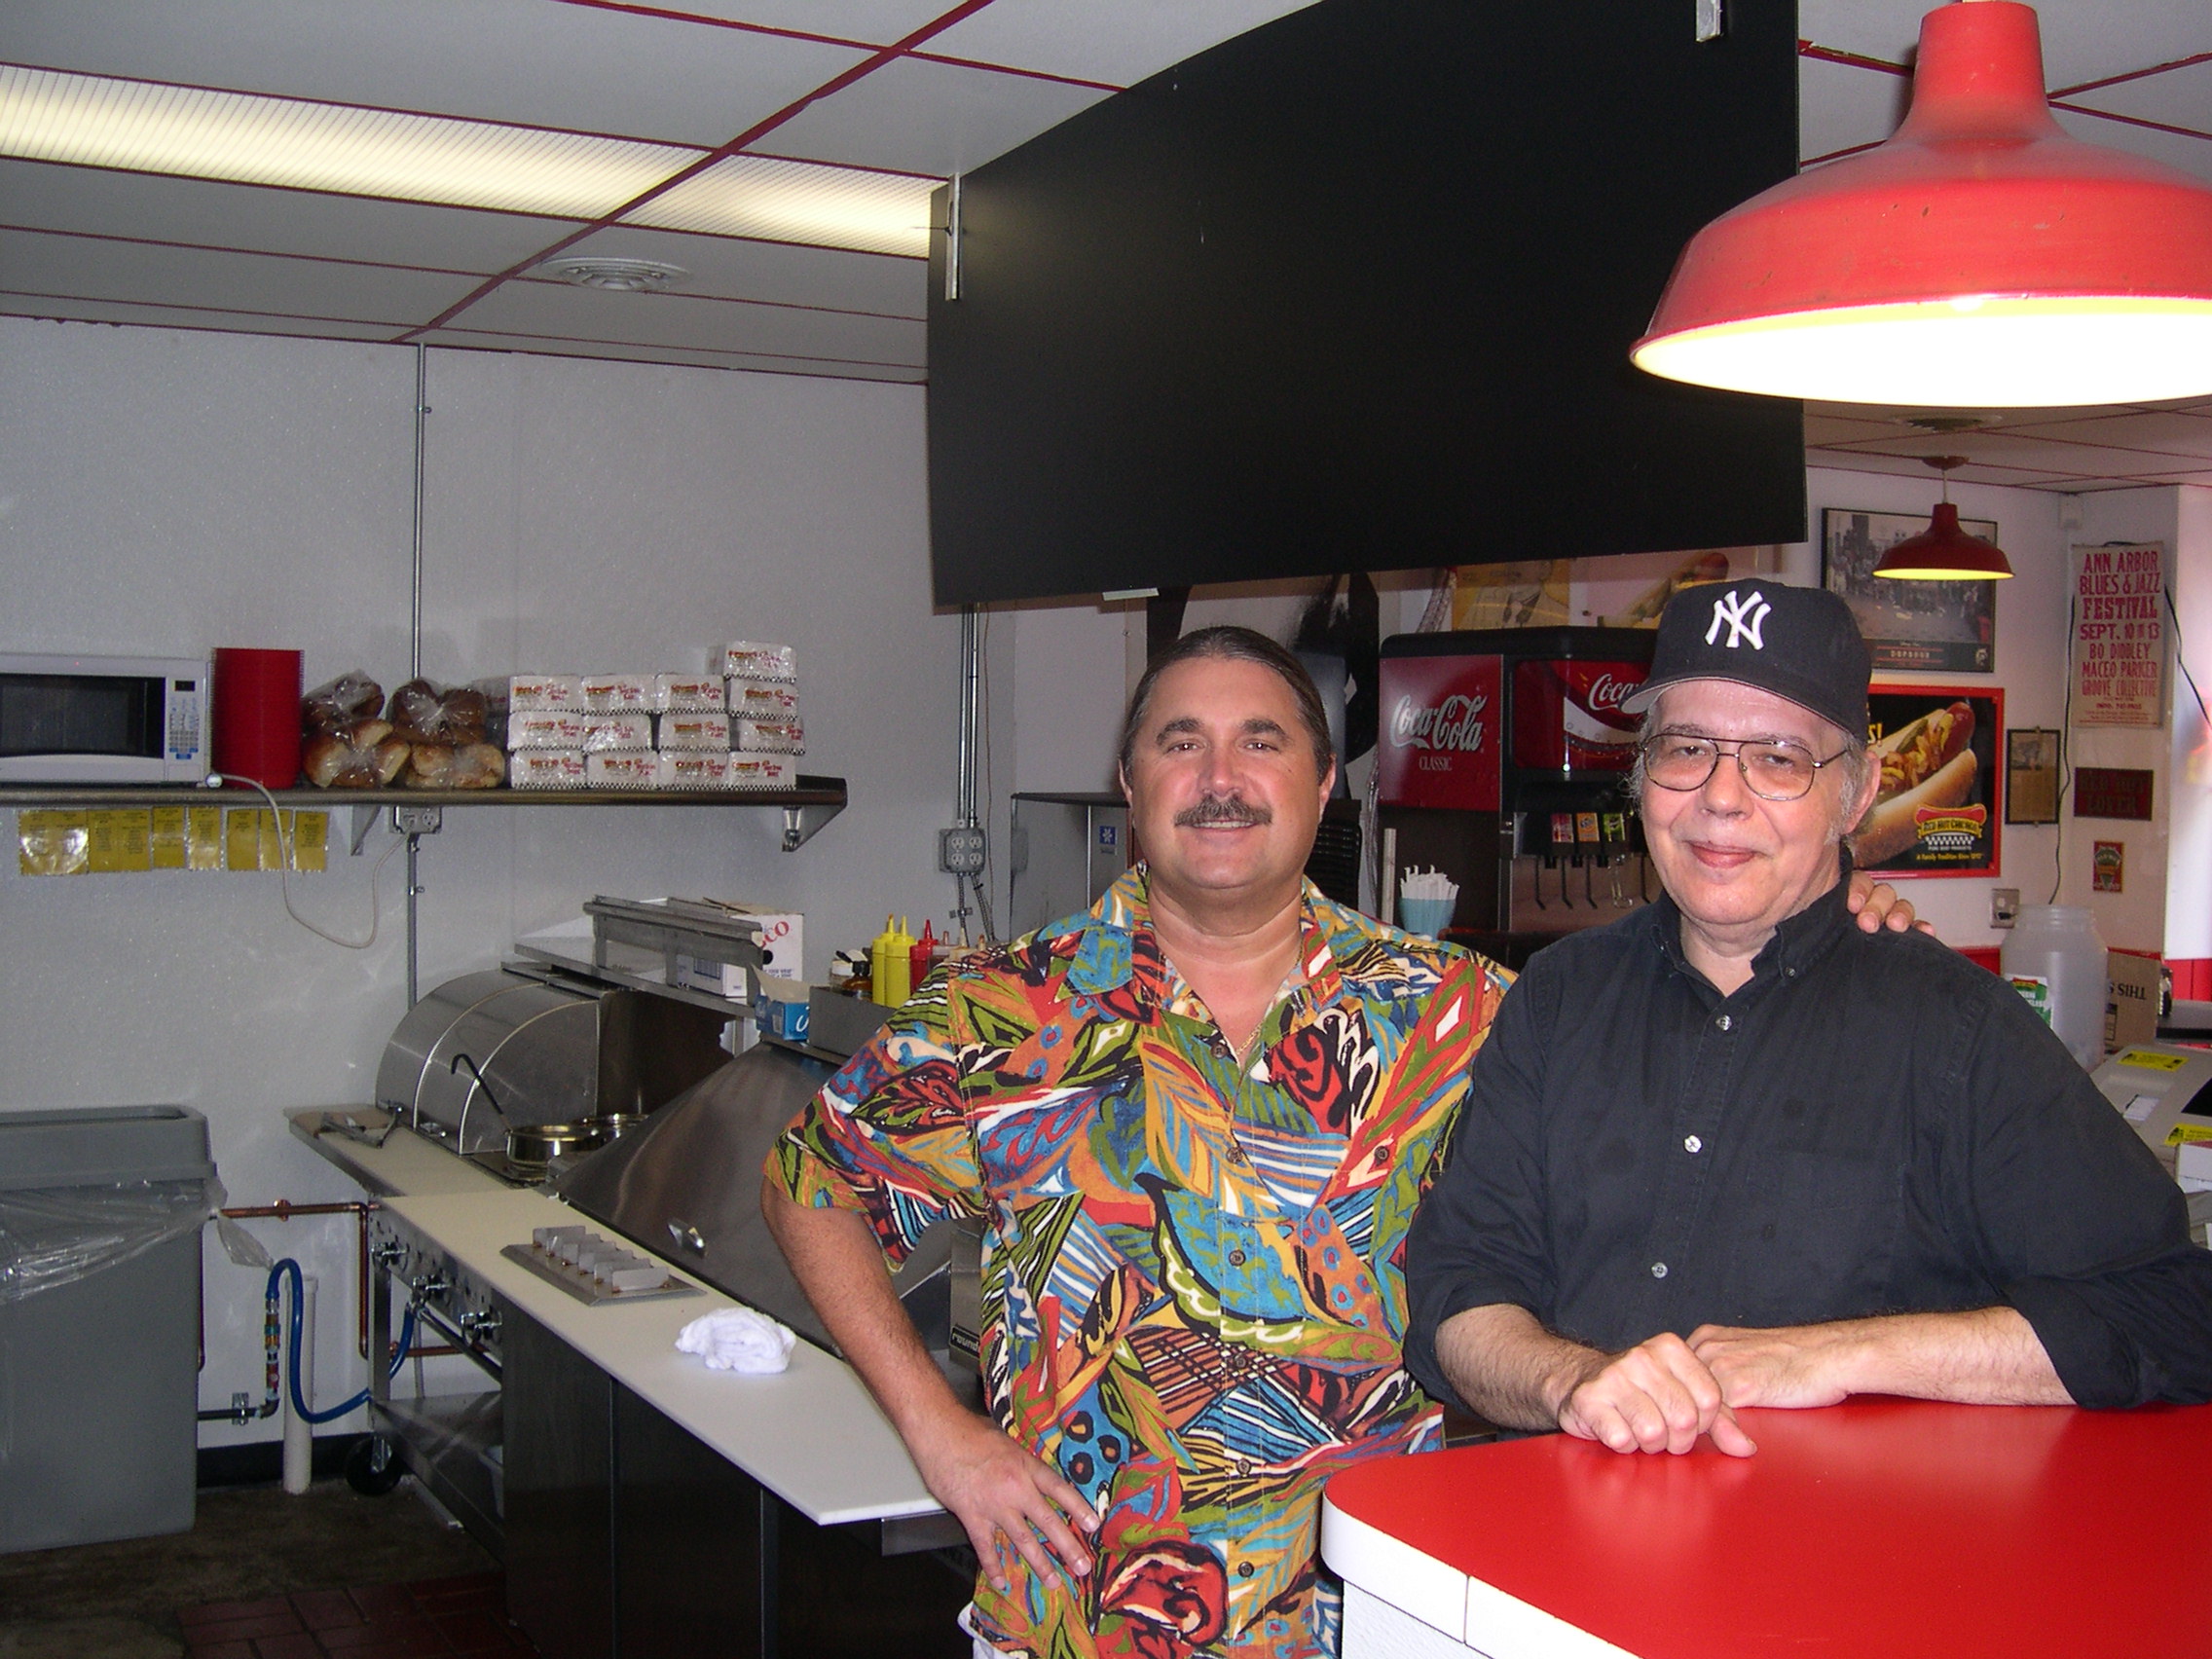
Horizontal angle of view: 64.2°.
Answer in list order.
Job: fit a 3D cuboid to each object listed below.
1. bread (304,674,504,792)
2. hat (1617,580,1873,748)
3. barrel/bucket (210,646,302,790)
[{"bbox_3d":[-1.973,-0.258,4.958,0.387,0.156,0.393,9,44,-15],"label":"bread"},{"bbox_3d":[0.668,-0.194,1.851,0.240,0.144,0.238,12,19,35],"label":"hat"},{"bbox_3d":[-2.342,-0.300,4.814,0.275,0.384,0.149,-2,7,17],"label":"barrel/bucket"}]
